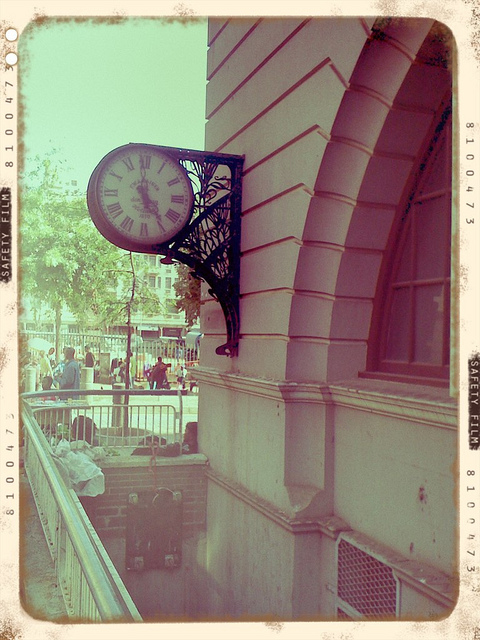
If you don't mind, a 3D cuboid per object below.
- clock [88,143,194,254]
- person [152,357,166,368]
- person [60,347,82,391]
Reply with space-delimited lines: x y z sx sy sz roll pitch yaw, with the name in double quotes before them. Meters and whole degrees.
"clock" -0.919 -1.143 6.053 0.934 1.345 0.197 2 -36 -14
"person" -2.362 1.254 17.992 0.257 0.254 0.937 -13 4 -7
"person" -3.208 0.941 11.711 0.394 0.816 0.658 -11 4 -19
